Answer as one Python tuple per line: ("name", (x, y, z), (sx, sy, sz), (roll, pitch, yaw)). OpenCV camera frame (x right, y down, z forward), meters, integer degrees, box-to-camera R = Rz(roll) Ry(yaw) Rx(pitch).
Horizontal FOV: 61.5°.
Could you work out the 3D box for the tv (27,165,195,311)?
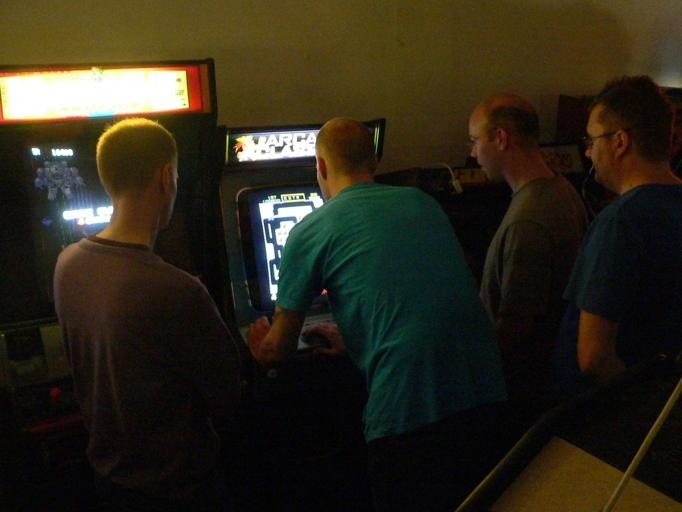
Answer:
("tv", (-0.877, -0.065, 2.083), (0.541, 0.552, 0.027), (-9, -5, -24))
